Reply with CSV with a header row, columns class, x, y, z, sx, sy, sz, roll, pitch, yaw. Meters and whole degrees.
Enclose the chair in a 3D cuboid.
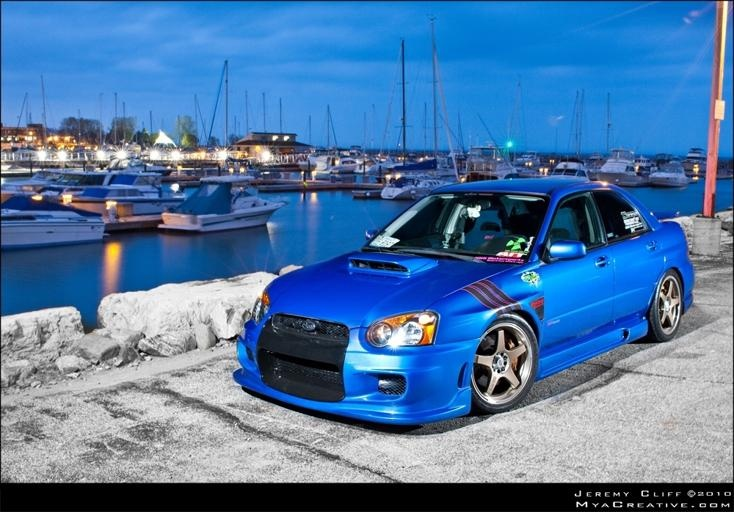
class,x,y,z,sx,sy,sz,roll,pitch,yaw
chair,1.662,-0.362,5.339,1.270,0.570,0.778,-3,9,-26
